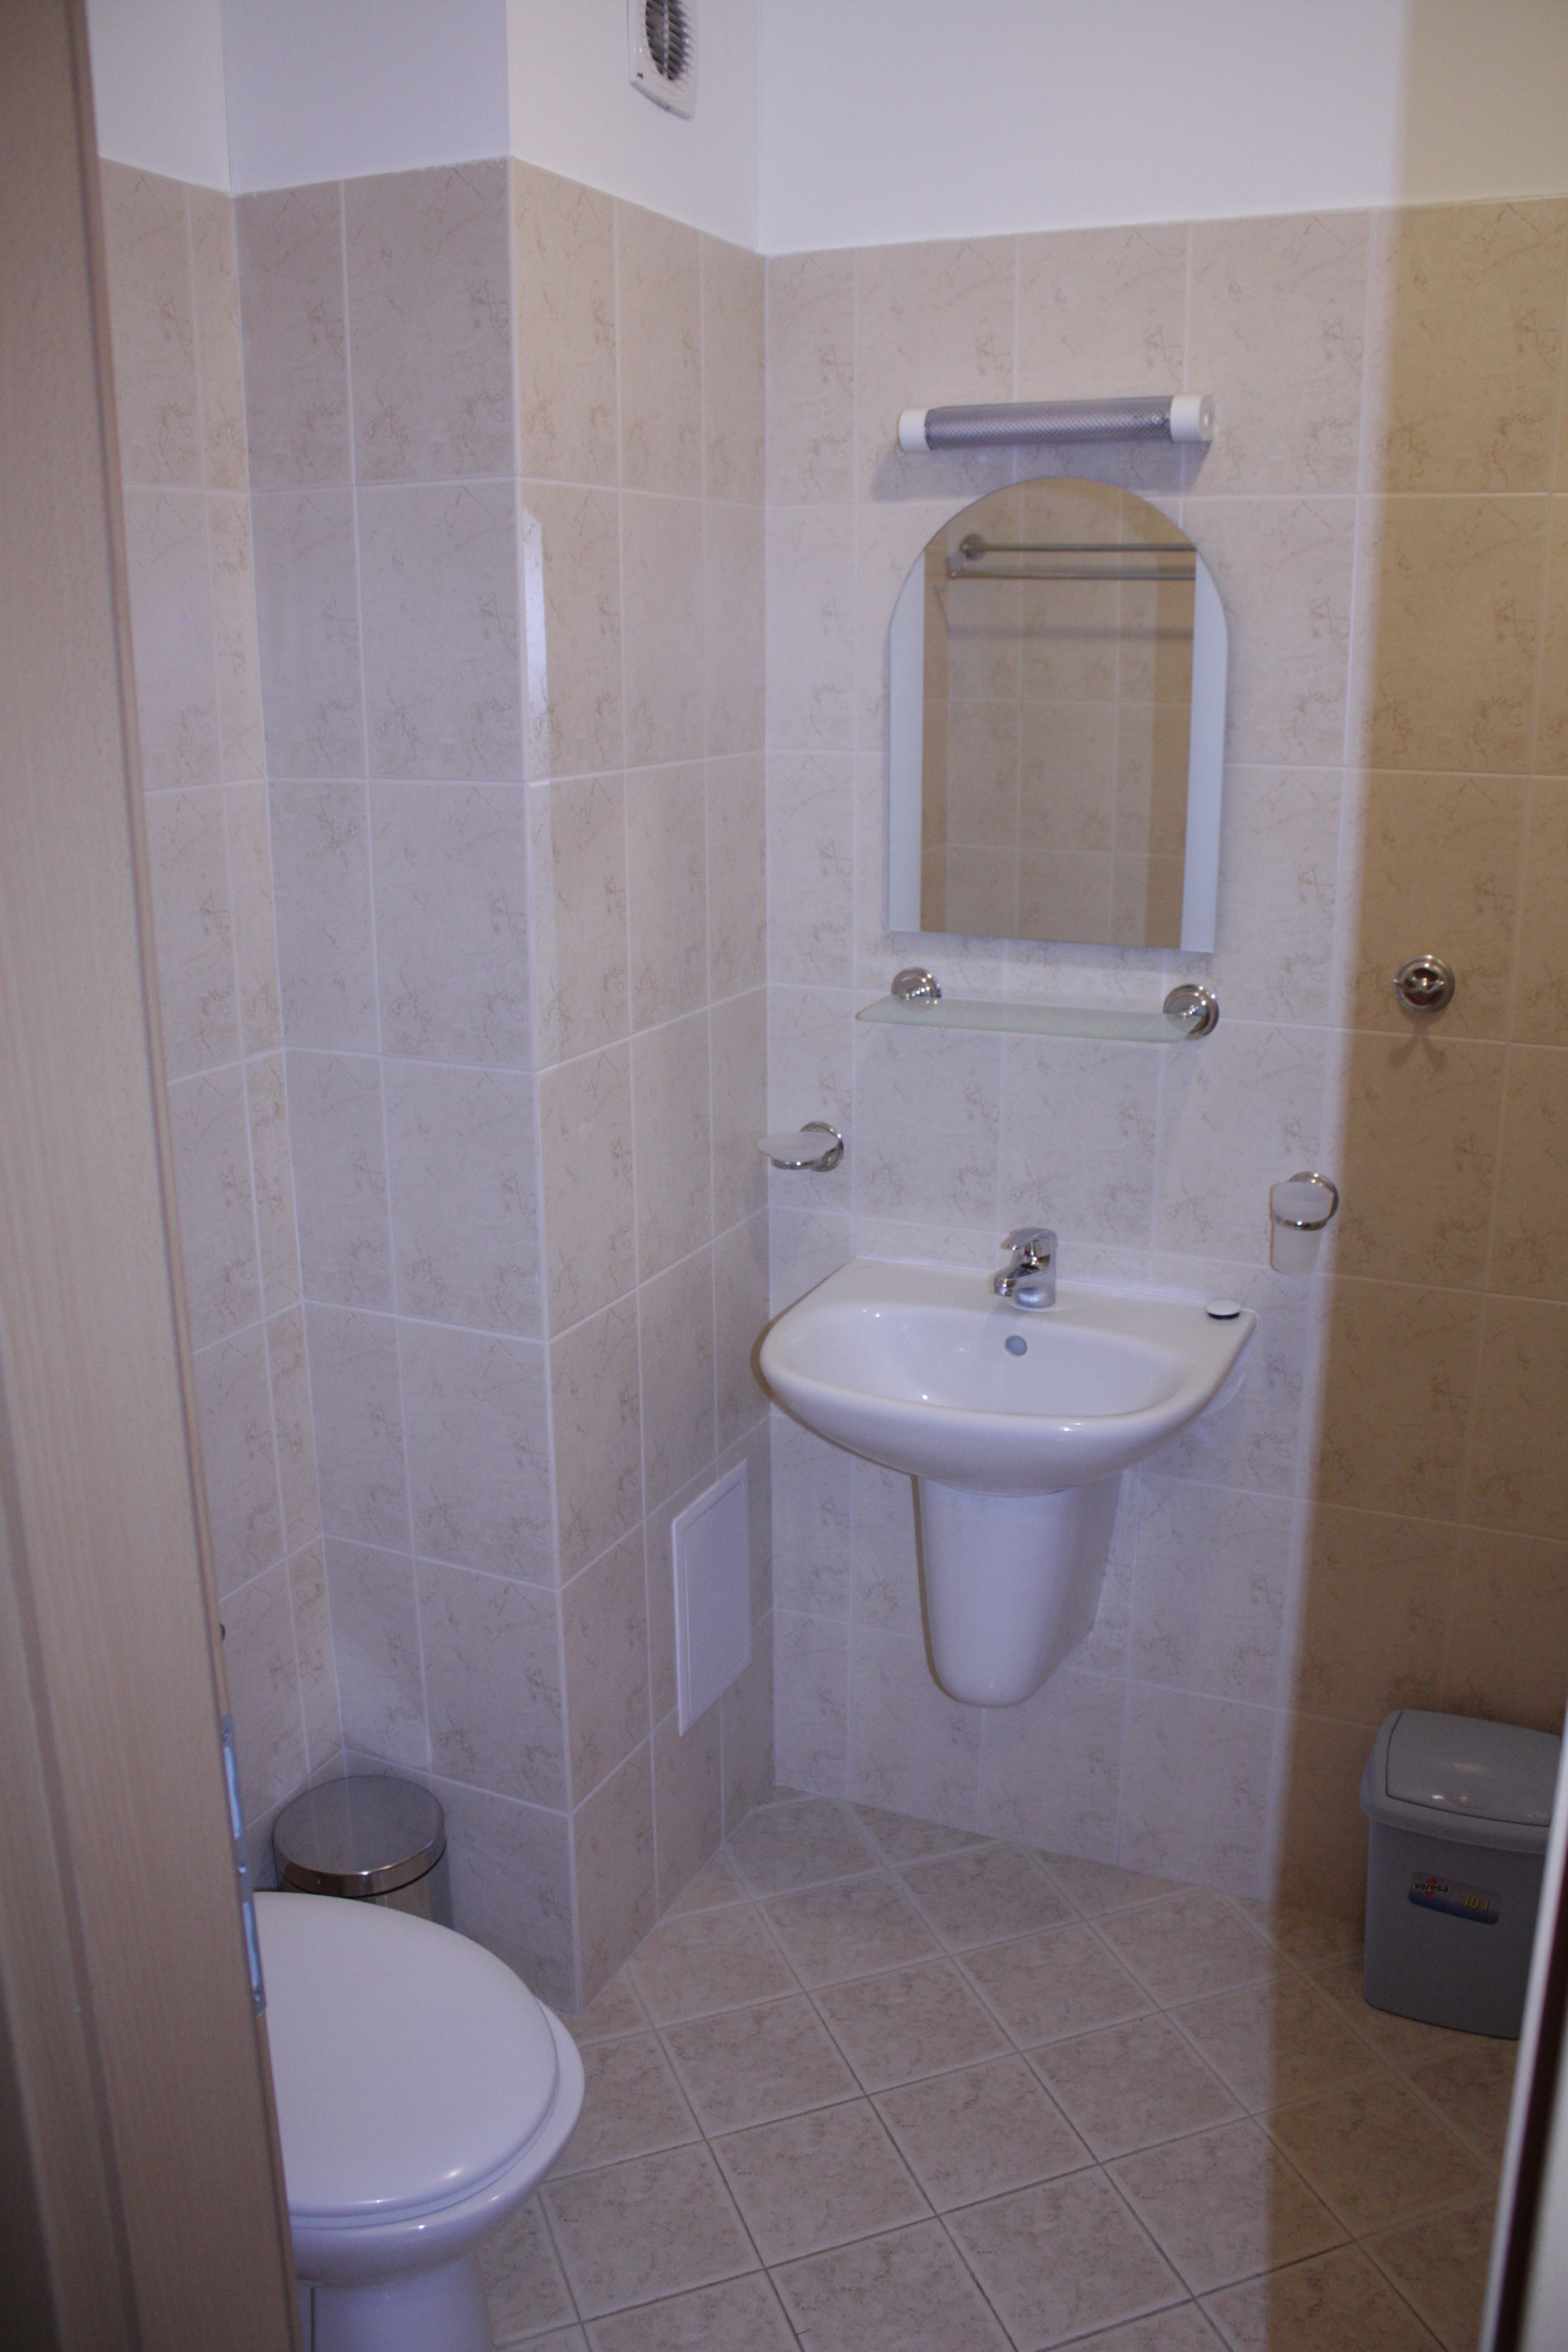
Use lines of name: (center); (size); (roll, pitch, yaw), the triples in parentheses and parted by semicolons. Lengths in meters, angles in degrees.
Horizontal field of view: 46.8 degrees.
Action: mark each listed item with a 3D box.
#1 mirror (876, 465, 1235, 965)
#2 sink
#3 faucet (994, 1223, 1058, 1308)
mirror: (0.337, -0.586, 2.270); (0.412, 0.683, 0.006); (3, -18, 9)
sink: (0.256, 0.270, 2.253); (0.562, 0.146, 0.484); (6, 16, 25)
faucet: (0.313, 0.125, 2.289); (0.052, 0.117, 0.114); (3, 8, 27)
